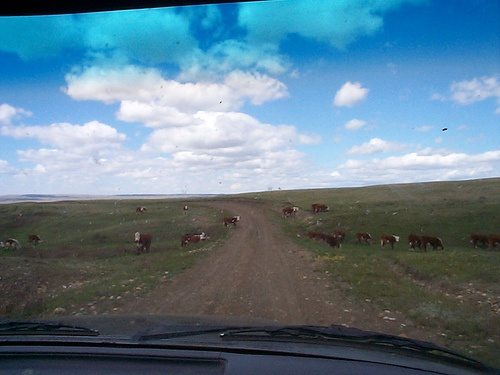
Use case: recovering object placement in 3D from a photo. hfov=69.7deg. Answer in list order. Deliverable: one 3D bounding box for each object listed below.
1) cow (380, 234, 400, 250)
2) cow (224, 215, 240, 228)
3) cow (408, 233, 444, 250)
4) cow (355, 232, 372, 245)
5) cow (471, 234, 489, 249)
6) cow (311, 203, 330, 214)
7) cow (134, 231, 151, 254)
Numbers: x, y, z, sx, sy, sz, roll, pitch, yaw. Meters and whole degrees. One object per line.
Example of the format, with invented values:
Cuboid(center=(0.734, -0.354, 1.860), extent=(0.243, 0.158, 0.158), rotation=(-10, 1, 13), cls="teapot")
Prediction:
Cuboid(center=(12.217, 4.648, 31.290), extent=(1.370, 1.015, 2.382), rotation=(2, 8, 28), cls="cow")
Cuboid(center=(-2.144, 3.751, 39.625), extent=(1.503, 0.903, 1.315), rotation=(-4, 7, -11), cls="cow")
Cuboid(center=(14.383, 4.578, 29.433), extent=(2.595, 1.185, 1.929), rotation=(4, 9, 42), cls="cow")
Cuboid(center=(10.339, 4.626, 32.875), extent=(1.012, 1.056, 1.839), rotation=(-2, 7, 1), cls="cow")
Cuboid(center=(18.088, 4.197, 28.236), extent=(1.150, 0.991, 0.740), rotation=(2, 9, 33), cls="cow")
Cuboid(center=(9.900, 3.027, 50.540), extent=(2.319, 1.090, 3.468), rotation=(-1, 7, 9), cls="cow")
Cuboid(center=(-9.297, 4.737, 31.109), extent=(1.133, 1.737, 1.991), rotation=(-4, 7, -15), cls="cow")
